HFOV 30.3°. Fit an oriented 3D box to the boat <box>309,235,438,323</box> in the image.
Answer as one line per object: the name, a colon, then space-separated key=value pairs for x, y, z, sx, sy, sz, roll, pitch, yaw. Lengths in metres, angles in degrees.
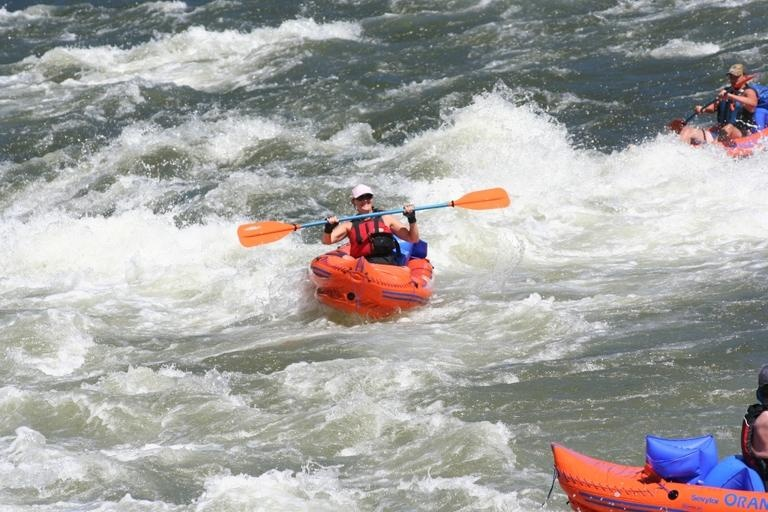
boat: x=-0.143 y=0.213 z=23.328 sx=1.971 sy=0.684 sz=2.237 roll=18 pitch=22 yaw=11

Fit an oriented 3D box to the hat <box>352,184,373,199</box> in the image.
hat: x=-0.365 y=-1.050 z=23.028 sx=0.302 sy=0.203 sz=0.292 roll=-5 pitch=15 yaw=0
